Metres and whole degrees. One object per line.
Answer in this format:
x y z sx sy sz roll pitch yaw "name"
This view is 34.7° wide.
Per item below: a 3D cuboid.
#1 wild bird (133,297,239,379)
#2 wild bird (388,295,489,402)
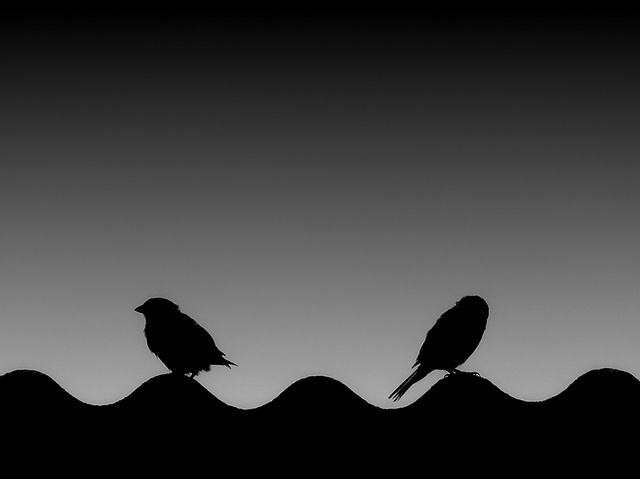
-0.254 0.186 1.917 0.192 0.100 0.155 4 -79 5 "wild bird"
0.222 0.206 1.899 0.222 0.127 0.069 -37 -55 22 "wild bird"
